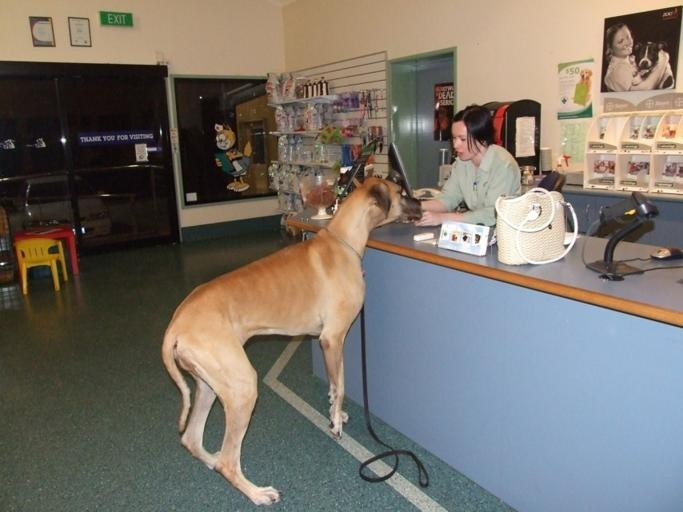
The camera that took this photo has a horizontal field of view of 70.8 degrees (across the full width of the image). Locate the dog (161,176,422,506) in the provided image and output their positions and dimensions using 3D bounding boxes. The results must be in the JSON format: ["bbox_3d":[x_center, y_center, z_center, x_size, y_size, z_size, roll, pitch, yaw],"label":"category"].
[{"bbox_3d":[-0.594,0.010,3.436,2.252,2.078,0.924,-20,31,-33],"label":"dog"}]

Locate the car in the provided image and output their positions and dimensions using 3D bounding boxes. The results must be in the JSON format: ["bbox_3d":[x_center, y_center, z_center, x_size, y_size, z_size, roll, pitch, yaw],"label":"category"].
[{"bbox_3d":[-4.146,-0.745,7.174,0.903,0.886,1.594,-6,9,-30],"label":"car"}]

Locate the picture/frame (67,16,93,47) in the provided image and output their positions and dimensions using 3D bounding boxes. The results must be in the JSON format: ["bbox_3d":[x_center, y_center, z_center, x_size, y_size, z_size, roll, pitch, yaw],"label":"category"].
[{"bbox_3d":[-3.886,-3.328,7.115,0.399,0.545,0.037,-6,11,-39],"label":"picture/frame"}]

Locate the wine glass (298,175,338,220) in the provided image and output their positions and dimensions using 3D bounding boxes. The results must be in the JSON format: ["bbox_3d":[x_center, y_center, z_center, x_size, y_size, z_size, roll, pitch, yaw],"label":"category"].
[{"bbox_3d":[-0.175,-0.494,3.954,0.287,0.359,0.296,-1,15,2],"label":"wine glass"}]

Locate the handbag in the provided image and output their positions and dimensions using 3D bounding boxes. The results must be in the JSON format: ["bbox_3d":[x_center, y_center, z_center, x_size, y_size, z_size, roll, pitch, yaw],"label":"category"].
[{"bbox_3d":[0.979,-0.155,2.408,0.361,0.376,0.387,-4,12,-7],"label":"handbag"}]

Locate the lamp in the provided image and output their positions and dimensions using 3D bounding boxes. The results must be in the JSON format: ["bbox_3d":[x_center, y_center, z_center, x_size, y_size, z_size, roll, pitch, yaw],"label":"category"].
[{"bbox_3d":[1.326,-0.102,2.266,0.216,0.371,0.295,-11,10,-41],"label":"lamp"}]

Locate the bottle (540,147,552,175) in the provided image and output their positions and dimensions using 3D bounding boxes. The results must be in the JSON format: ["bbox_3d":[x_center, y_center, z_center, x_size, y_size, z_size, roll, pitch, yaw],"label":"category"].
[{"bbox_3d":[2.224,-1.041,5.219,0.137,0.237,0.327,4,19,25],"label":"bottle"}]

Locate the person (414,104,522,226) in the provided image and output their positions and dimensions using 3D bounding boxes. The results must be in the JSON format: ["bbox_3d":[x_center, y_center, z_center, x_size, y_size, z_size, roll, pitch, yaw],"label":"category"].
[{"bbox_3d":[0.839,-0.609,3.349,0.742,0.823,0.663,-18,22,-39],"label":"person"}]

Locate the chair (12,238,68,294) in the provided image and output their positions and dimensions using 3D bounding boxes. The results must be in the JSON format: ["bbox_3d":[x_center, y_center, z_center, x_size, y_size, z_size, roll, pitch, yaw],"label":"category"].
[{"bbox_3d":[-3.858,0.136,6.131,0.438,0.651,0.430,-4,25,-16],"label":"chair"}]
